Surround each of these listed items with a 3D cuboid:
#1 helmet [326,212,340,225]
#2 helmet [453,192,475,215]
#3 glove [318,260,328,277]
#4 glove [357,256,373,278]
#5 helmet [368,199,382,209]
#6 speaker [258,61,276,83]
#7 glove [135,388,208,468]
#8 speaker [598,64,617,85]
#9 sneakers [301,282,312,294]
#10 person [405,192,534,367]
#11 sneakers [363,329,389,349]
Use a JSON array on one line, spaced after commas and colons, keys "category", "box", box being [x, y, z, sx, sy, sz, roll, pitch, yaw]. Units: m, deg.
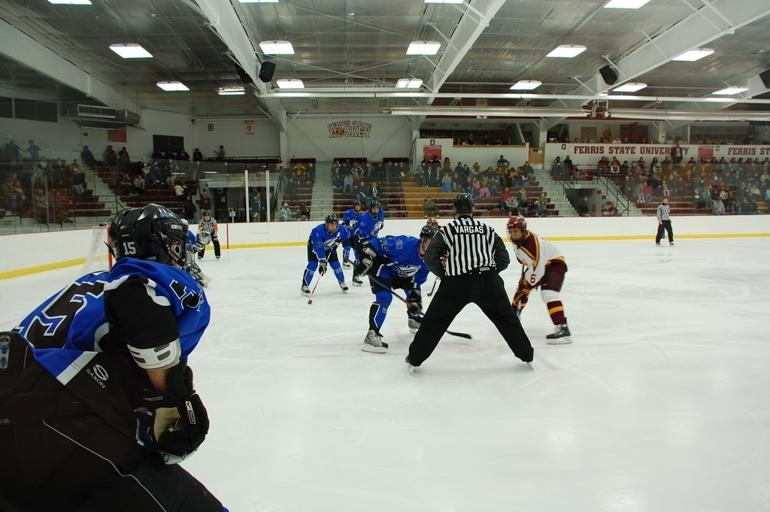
[{"category": "helmet", "box": [-0.931, -0.631, 10.562, 0.185, 0.202, 0.210, 4, -9, -44]}, {"category": "helmet", "box": [0.919, -0.596, 7.020, 0.200, 0.246, 0.259, 3, 18, 5]}, {"category": "glove", "box": [-1.097, 0.207, 10.642, 0.149, 0.259, 0.294, -2, 8, -6]}, {"category": "glove", "box": [-0.248, 0.143, 7.774, 0.208, 0.250, 0.195, -2, 8, -4]}, {"category": "helmet", "box": [-0.174, -0.973, 11.297, 0.190, 0.205, 0.213, 2, -6, -13]}, {"category": "speaker", "box": [-3.325, -5.188, 17.030, 0.411, 0.525, 0.499, -3, 8, -12]}, {"category": "glove", "box": [-1.655, 1.343, 4.972, 0.599, 0.546, 0.460, 15, 1, 4]}, {"category": "speaker", "box": [6.986, -5.640, 18.891, 0.466, 0.620, 0.151, -29, -28, 32]}, {"category": "sneakers", "box": [-1.376, 0.569, 10.553, 0.160, 0.201, 0.441, 0, -5, -13]}, {"category": "person", "box": [0.940, 0.327, 6.896, 1.397, 2.020, 0.328, -1, 8, -2]}, {"category": "sneakers", "box": [-0.110, 1.056, 7.609, 0.285, 0.285, 0.141, -1, 8, -2]}]
